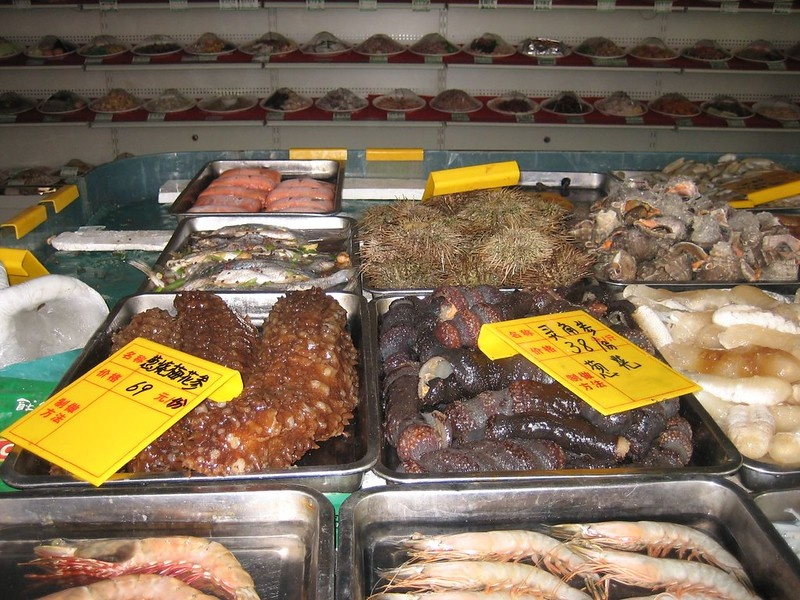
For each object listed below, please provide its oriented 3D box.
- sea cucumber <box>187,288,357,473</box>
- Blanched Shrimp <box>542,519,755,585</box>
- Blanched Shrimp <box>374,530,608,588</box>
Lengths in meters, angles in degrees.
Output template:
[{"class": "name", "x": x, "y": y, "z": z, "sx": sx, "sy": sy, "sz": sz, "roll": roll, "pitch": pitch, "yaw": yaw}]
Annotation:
[{"class": "sea cucumber", "x": -0.351, "y": 0.270, "z": 1.921, "sx": 0.477, "sy": 0.225, "sz": 0.694, "roll": 10, "pitch": 48, "yaw": 19}, {"class": "Blanched Shrimp", "x": 0.668, "y": 0.690, "z": 1.576, "sx": 0.480, "sy": 0.085, "sz": 0.075, "roll": 7, "pitch": 30, "yaw": 5}, {"class": "Blanched Shrimp", "x": 0.205, "y": 0.677, "z": 1.573, "sx": 0.752, "sy": 0.154, "sz": 0.147, "roll": 0, "pitch": 82, "yaw": 4}]
